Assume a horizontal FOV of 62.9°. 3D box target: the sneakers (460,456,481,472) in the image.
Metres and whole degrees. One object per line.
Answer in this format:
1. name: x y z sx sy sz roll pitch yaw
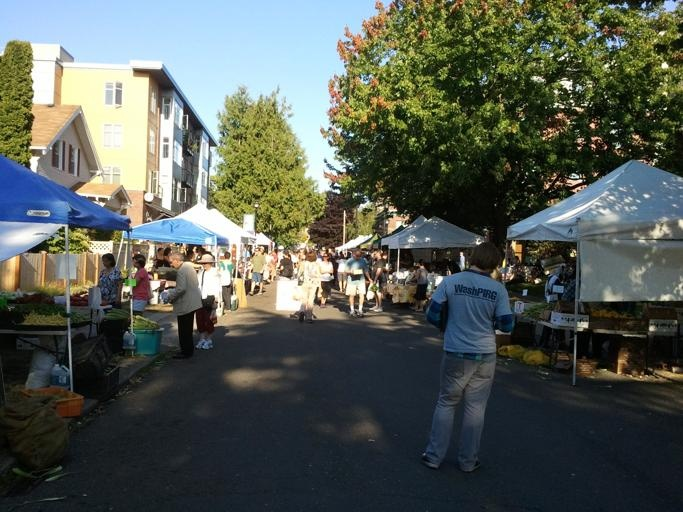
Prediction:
1. sneakers: 1.406 2.199 5.985 0.288 0.110 0.143 1 1 -22

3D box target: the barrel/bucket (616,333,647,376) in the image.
1. barrel/bucket: 5.608 1.906 10.817 0.509 0.697 0.246 2 1 24

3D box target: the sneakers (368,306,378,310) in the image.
1. sneakers: 1.227 1.971 21.154 0.335 0.156 0.117 1 -2 21

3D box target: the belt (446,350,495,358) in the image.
1. belt: 1.396 1.069 6.046 0.463 0.058 0.092 2 1 5

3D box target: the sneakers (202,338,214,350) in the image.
1. sneakers: -2.918 1.919 12.209 0.146 0.197 0.435 0 -6 2

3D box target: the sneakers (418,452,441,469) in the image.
1. sneakers: 0.957 2.198 6.010 0.197 0.096 0.143 2 1 13
